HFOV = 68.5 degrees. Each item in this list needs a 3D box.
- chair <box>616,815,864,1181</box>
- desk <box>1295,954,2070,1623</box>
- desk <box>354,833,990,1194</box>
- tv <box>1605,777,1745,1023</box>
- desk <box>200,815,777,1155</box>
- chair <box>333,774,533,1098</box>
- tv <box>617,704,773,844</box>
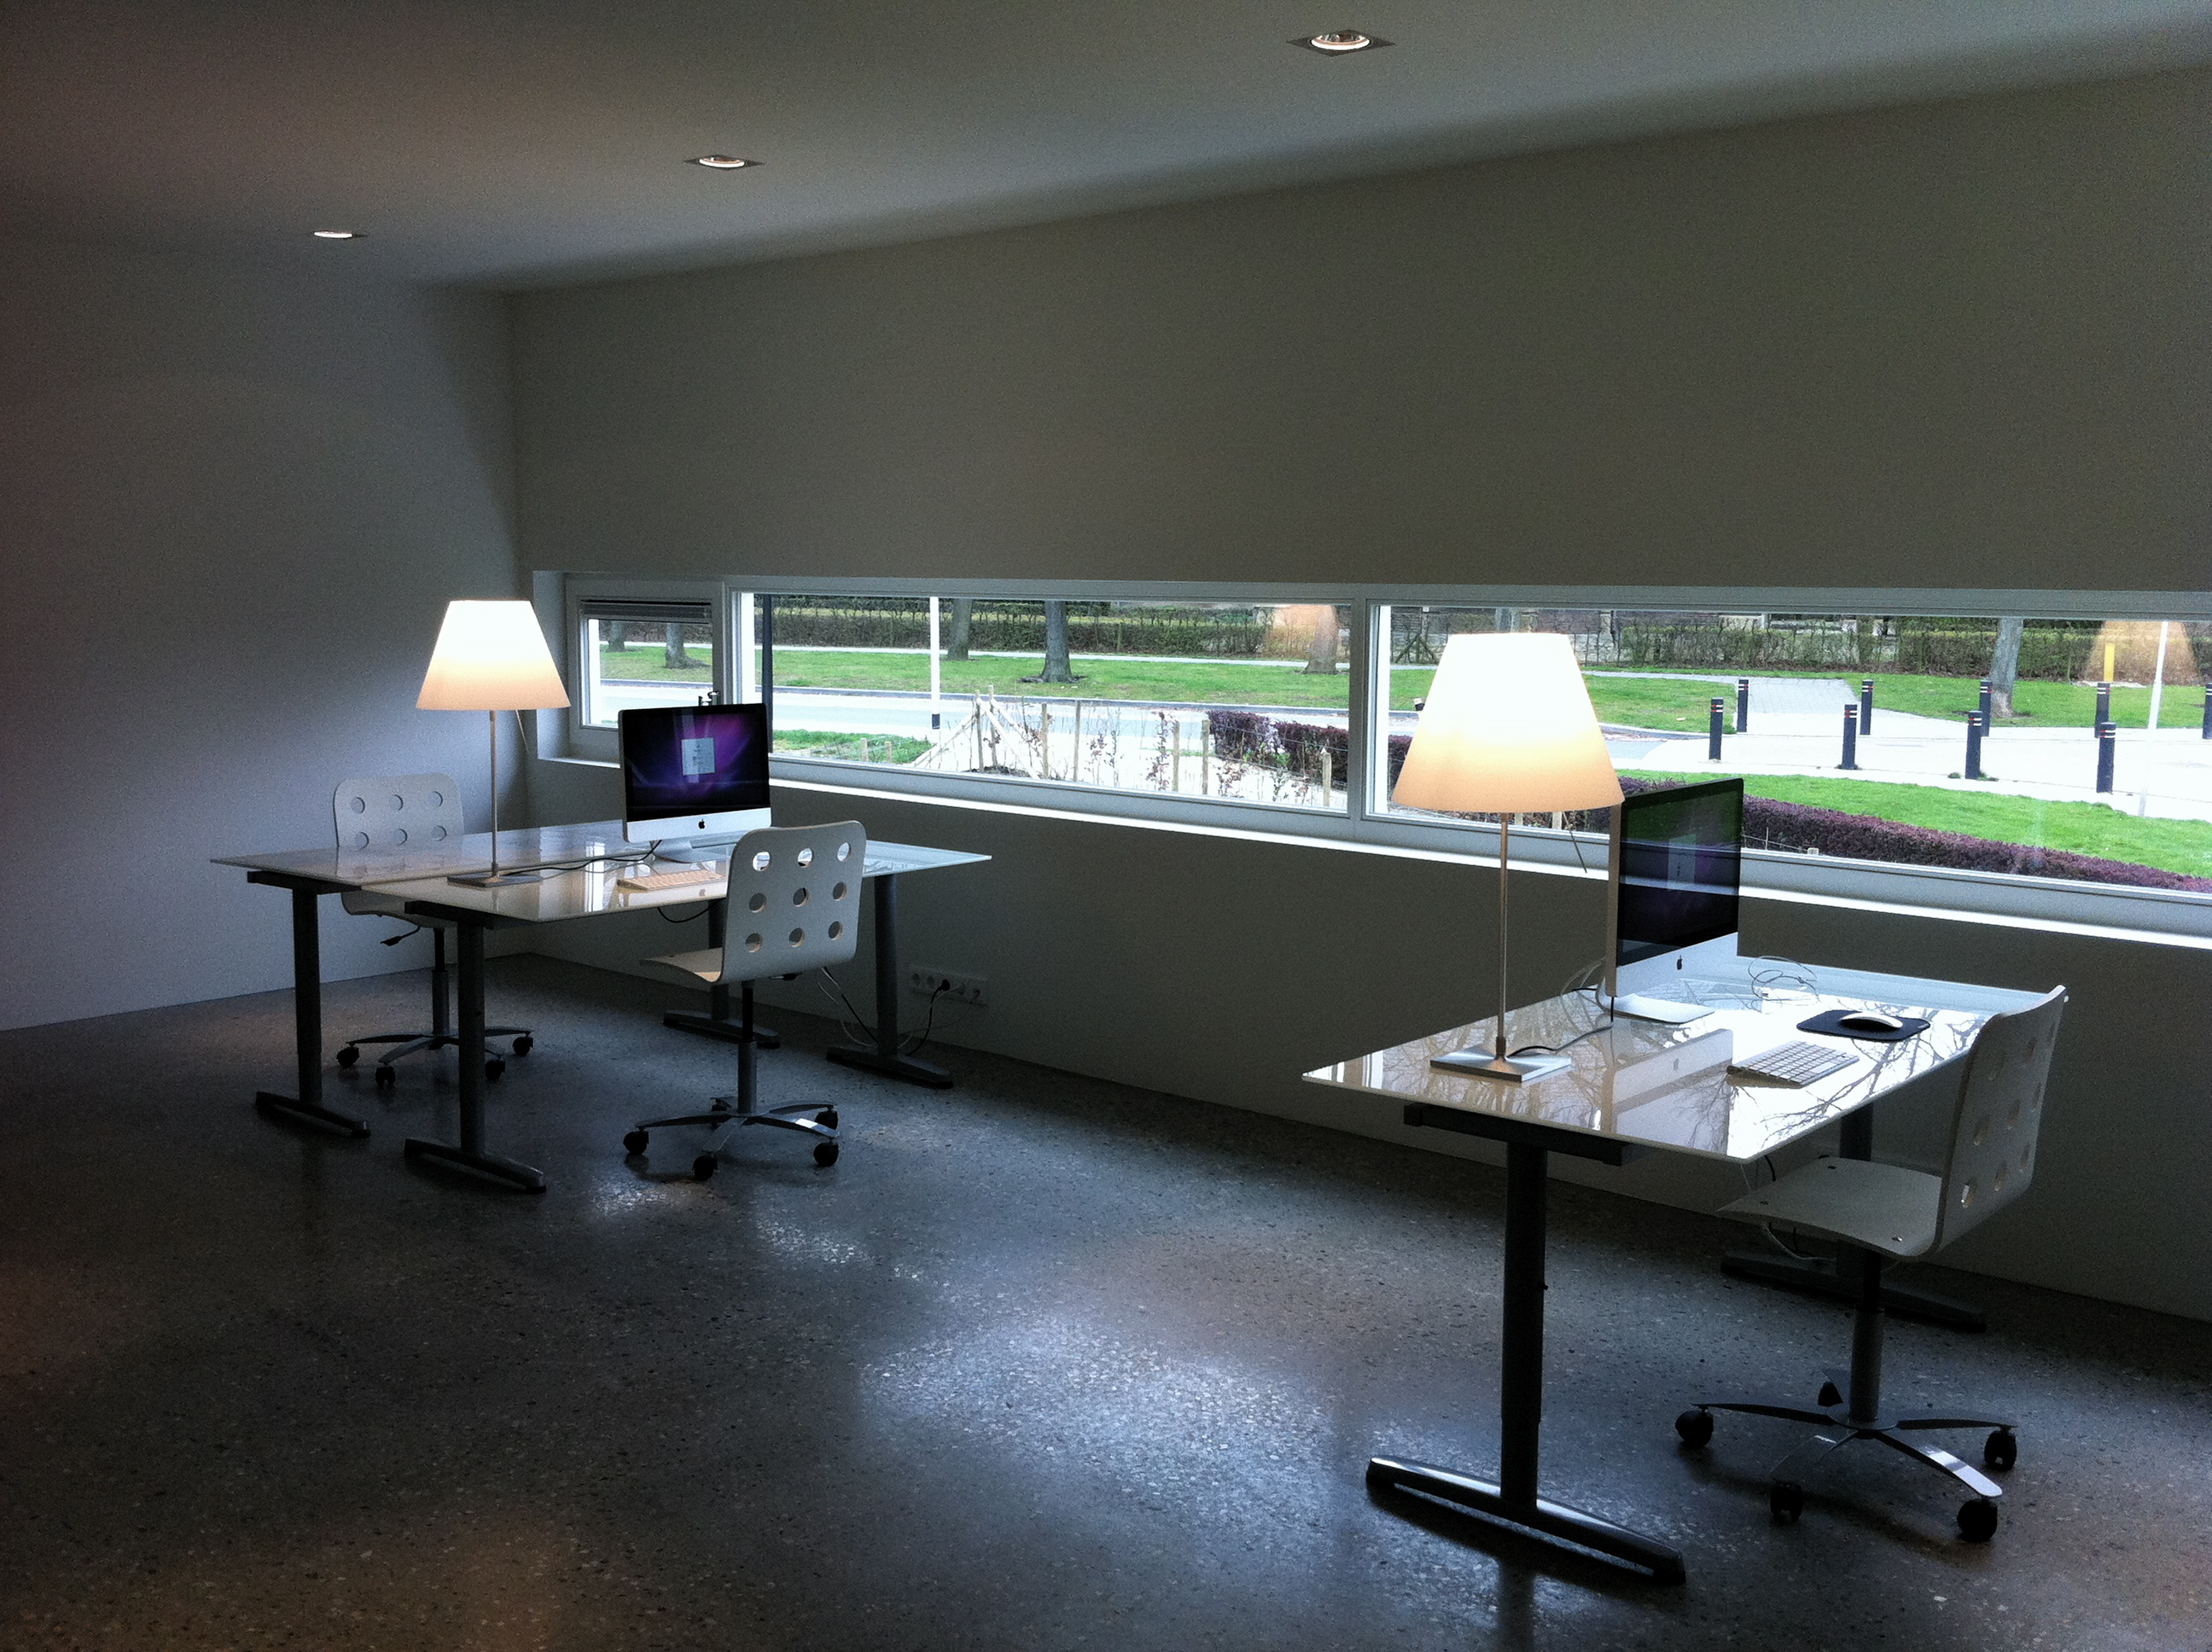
[{"bbox_3d":[-1.278,0.572,5.797,0.756,1.180,0.828,3,5,40],"label":"chair"},{"bbox_3d":[1.639,0.957,4.155,1.357,1.217,2.109,4,7,45],"label":"desk"},{"bbox_3d":[-1.733,0.370,5.777,1.348,1.038,1.811,6,8,42],"label":"desk"},{"bbox_3d":[1.490,0.203,4.281,0.180,0.542,0.628,4,8,43],"label":"tv"},{"bbox_3d":[-2.247,0.560,5.862,1.347,0.669,1.299,5,6,34],"label":"desk"},{"bbox_3d":[-2.678,0.388,6.516,0.743,1.135,0.741,-2,7,-40],"label":"chair"},{"bbox_3d":[-1.583,-0.200,6.222,0.514,0.436,0.182,-7,13,-41],"label":"tv"}]
